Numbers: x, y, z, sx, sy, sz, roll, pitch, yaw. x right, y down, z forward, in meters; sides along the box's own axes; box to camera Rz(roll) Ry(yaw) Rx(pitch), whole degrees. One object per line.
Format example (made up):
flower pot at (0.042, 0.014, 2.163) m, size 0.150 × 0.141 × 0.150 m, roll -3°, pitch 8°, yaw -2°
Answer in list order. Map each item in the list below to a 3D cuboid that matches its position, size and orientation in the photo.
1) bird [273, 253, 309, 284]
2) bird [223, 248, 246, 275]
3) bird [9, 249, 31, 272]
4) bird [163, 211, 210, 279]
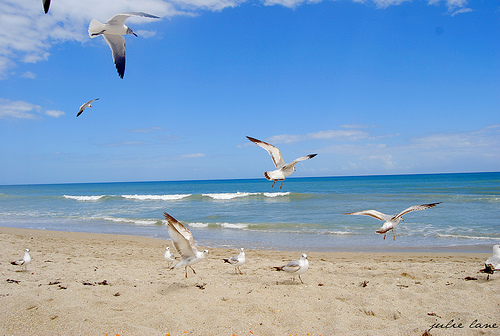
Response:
bird at (1.498, 3.393, 13.590) m, size 1.590 × 0.900 × 0.658 m, roll -7°, pitch -5°, yaw 42°
bird at (-0.567, 3.416, 14.663) m, size 0.652 × 0.987 × 0.744 m, roll 0°, pitch 9°, yaw -5°
bird at (-8.522, 3.421, 14.691) m, size 0.574 × 0.710 × 0.749 m, roll -5°, pitch 10°, yaw -31°
bird at (-2.180, 2.344, 12.866) m, size 0.704 × 1.974 × 1.123 m, roll 6°, pitch 11°, yaw 27°
